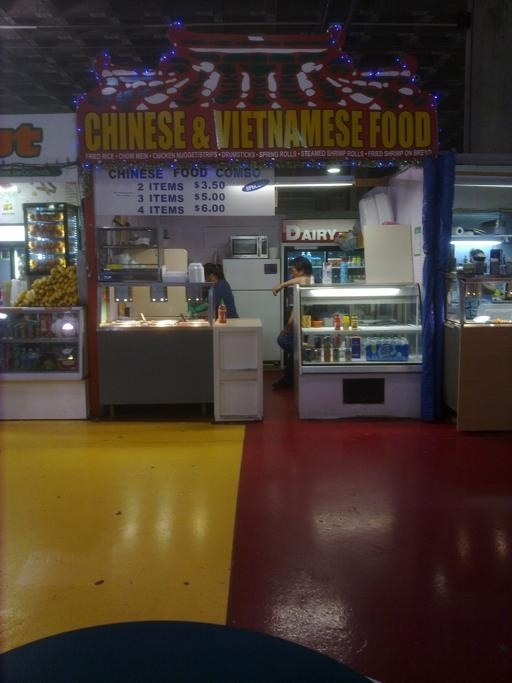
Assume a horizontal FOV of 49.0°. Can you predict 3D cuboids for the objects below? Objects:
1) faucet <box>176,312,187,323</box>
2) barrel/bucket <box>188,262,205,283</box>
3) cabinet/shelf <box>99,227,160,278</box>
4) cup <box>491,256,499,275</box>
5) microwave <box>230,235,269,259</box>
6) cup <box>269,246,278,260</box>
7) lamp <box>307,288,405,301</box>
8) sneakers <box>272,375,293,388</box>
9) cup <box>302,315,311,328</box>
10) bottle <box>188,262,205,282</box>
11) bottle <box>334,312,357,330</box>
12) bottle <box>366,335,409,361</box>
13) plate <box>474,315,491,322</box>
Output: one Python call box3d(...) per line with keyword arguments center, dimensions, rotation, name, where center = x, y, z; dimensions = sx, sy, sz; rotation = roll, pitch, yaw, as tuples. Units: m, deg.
box3d(center=(-0.850, -0.269, 6.404), dimensions=(0.056, 0.091, 0.295), rotation=(9, 4, -7), name="faucet")
box3d(center=(-0.626, -0.725, 5.925), dimensions=(0.203, 0.235, 0.210), rotation=(-1, 10, 0), name="barrel/bucket")
box3d(center=(-1.368, -0.890, 5.946), dimensions=(0.704, 0.702, 0.541), rotation=(-1, 1, -4), name="cabinet/shelf")
box3d(center=(2.334, -0.737, 5.480), dimensions=(0.080, 0.167, 0.172), rotation=(1, 5, 23), name="cup")
box3d(center=(-0.085, -1.328, 8.542), dimensions=(0.492, 0.331, 0.322), rotation=(0, 3, -2), name="microwave")
box3d(center=(0.271, -1.348, 8.571), dimensions=(0.130, 0.207, 0.211), rotation=(0, -1, -1), name="cup")
box3d(center=(1.019, -0.492, 5.798), dimensions=(0.925, 0.129, 0.205), rotation=(1, 5, 13), name="lamp")
box3d(center=(0.369, 0.545, 7.378), dimensions=(0.308, 0.138, 0.109), rotation=(1, 5, 9), name="sneakers")
box3d(center=(0.546, -0.212, 6.008), dimensions=(0.110, 0.165, 0.112), rotation=(1, 11, 0), name="cup")
box3d(center=(-0.649, -0.738, 5.975), dimensions=(0.193, 0.223, 0.199), rotation=(0, 10, 7), name="bottle")
box3d(center=(0.953, -0.208, 5.941), dimensions=(0.175, 0.148, 0.063), rotation=(1, 11, 5), name="bottle")
box3d(center=(1.354, 0.083, 5.784), dimensions=(0.431, 0.235, 0.158), rotation=(1, 5, 12), name="bottle")
box3d(center=(2.123, -0.211, 5.264), dimensions=(0.126, 0.054, 0.239), rotation=(3, 6, 29), name="plate")
